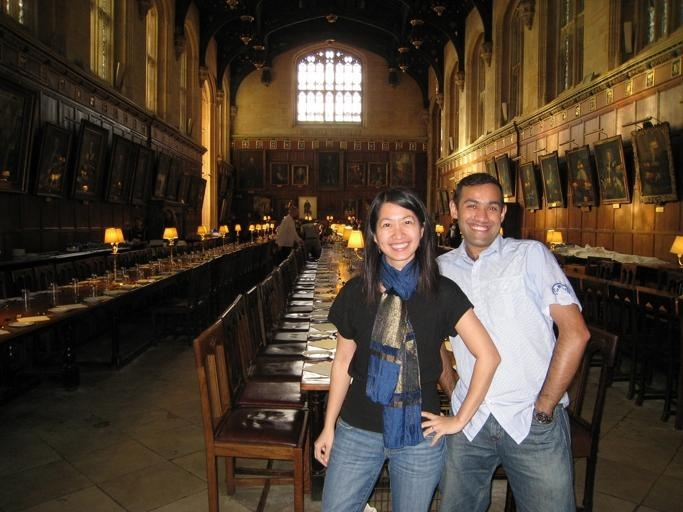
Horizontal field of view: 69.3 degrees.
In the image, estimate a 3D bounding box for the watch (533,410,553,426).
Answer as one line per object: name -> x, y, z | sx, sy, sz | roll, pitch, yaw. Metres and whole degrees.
watch -> 0.918, 0.737, 2.263 | 0.050, 0.040, 0.067 | 0, -7, 34
